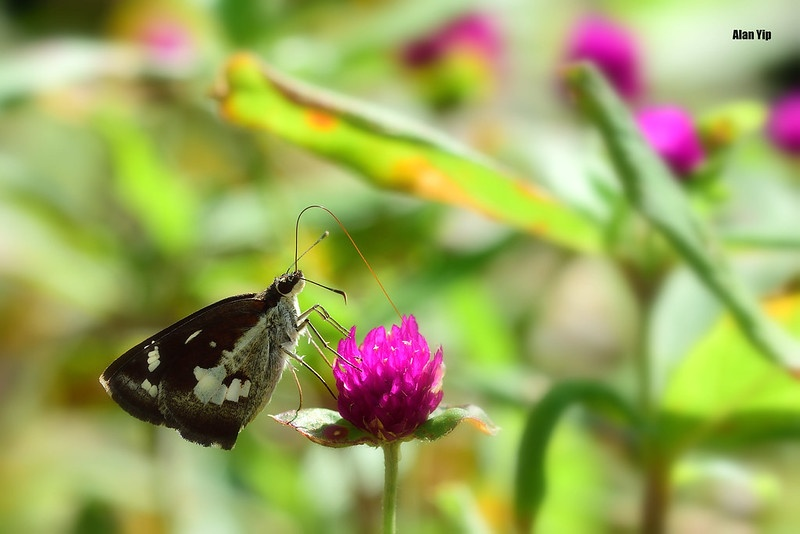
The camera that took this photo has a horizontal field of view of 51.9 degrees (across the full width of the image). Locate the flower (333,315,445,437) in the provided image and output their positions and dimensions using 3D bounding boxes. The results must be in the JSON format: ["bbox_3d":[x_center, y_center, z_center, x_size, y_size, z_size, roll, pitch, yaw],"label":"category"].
[{"bbox_3d":[-0.026,0.190,1.308,0.160,0.170,0.186,26,55,-52],"label":"flower"}]

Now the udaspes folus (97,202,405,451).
[{"bbox_3d":[-0.321,0.176,1.395,0.347,0.258,0.205,-3,52,-24],"label":"udaspes folus"}]
